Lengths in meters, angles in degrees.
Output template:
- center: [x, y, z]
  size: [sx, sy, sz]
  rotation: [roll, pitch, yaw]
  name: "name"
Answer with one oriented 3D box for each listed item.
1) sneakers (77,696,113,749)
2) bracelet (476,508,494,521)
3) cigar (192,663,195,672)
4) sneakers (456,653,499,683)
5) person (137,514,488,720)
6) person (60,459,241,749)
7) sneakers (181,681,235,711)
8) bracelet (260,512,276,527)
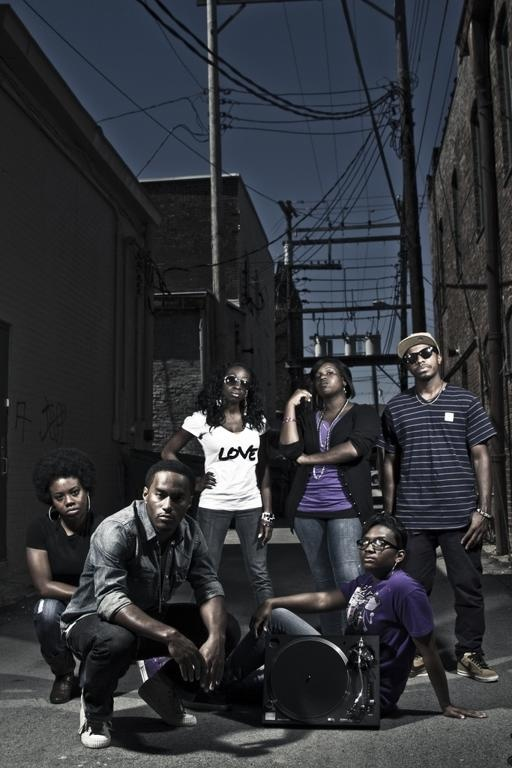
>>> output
- center: [-0.641, 1.312, 2.828]
  size: [0.121, 0.199, 0.230]
  rotation: [-2, -4, -14]
  name: "sneakers"
- center: [1.277, 0.730, 4.056]
  size: [0.066, 0.029, 0.089]
  rotation: [27, 0, -8]
  name: "bracelet"
- center: [-0.232, 1.046, 2.648]
  size: [0.020, 0.029, 0.033]
  rotation: [2, -23, -6]
  name: "cigar"
- center: [1.186, 1.533, 3.850]
  size: [0.097, 0.121, 0.266]
  rotation: [0, -15, -21]
  name: "sneakers"
- center: [0.242, 1.027, 3.231]
  size: [1.283, 0.814, 0.700]
  rotation: [3, -23, -3]
  name: "person"
- center: [-0.403, 0.896, 2.912]
  size: [0.686, 1.144, 0.702]
  rotation: [-1, -5, -26]
  name: "person"
- center: [-0.226, 1.481, 3.385]
  size: [0.212, 0.071, 0.213]
  rotation: [6, 4, 0]
  name: "sneakers"
- center: [0.078, 0.866, 4.611]
  size: [0.078, 0.070, 0.094]
  rotation: [2, -9, -16]
  name: "bracelet"
